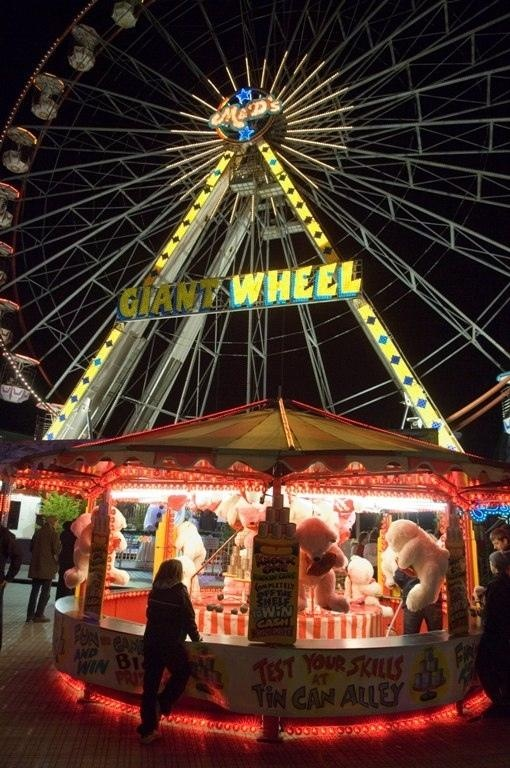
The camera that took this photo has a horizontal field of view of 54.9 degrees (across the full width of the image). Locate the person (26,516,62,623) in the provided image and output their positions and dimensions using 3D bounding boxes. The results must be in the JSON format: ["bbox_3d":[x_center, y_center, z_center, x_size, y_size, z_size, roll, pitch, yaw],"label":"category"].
[{"bbox_3d":[-3.969,3.431,9.148,0.529,1.857,1.344,11,-18,-20],"label":"person"}]

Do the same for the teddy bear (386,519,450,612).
[{"bbox_3d":[1.697,1.916,5.153,0.613,0.914,0.301,-4,-19,28],"label":"teddy bear"}]
